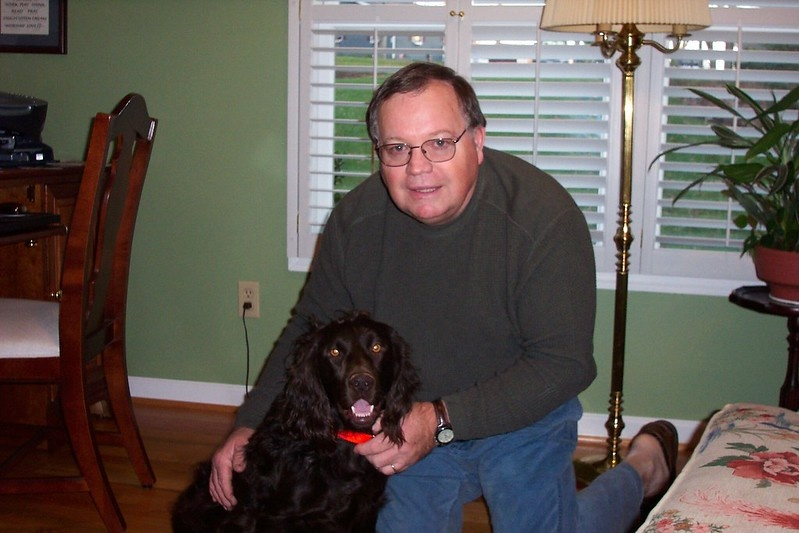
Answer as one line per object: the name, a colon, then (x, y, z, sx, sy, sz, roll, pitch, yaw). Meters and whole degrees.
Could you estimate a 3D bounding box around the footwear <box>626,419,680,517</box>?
footwear: (1.232, 0.914, 3.356, 0.150, 0.544, 0.181, 34, -34, -24)

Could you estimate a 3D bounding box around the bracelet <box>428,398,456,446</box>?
bracelet: (0.156, 0.555, 2.494, 0.091, 0.148, 0.139, -7, 39, -3)
